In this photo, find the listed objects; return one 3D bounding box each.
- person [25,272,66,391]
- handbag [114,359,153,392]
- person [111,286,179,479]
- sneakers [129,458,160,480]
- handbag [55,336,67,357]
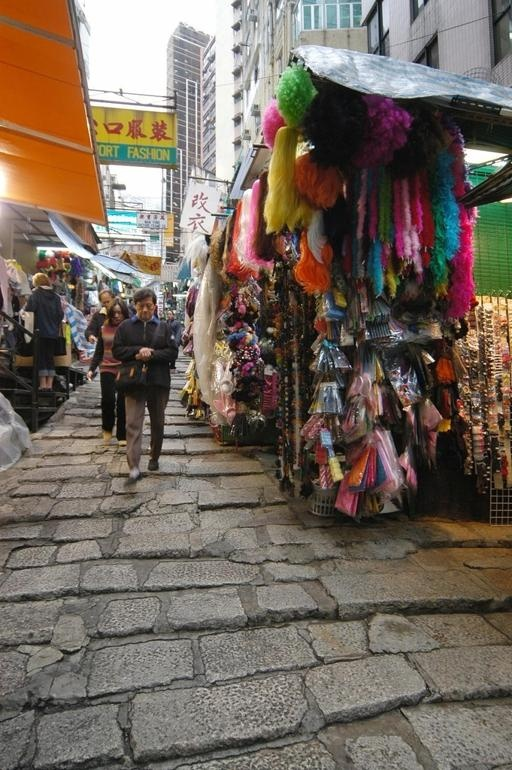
[{"bbox_3d":[-3.084,-0.765,7.656,0.406,1.720,0.921,1,5,-2],"label":"person"},{"bbox_3d":[-1.169,-0.094,5.101,0.286,0.271,0.153,-2,-24,26],"label":"handbag"},{"bbox_3d":[-1.112,-0.039,5.309,0.627,1.834,0.562,-3,7,-43],"label":"person"},{"bbox_3d":[-1.117,0.832,5.232,0.156,0.120,0.581,3,5,15],"label":"sneakers"},{"bbox_3d":[-3.051,-0.603,8.200,0.129,0.306,0.325,0,3,-3],"label":"handbag"}]
